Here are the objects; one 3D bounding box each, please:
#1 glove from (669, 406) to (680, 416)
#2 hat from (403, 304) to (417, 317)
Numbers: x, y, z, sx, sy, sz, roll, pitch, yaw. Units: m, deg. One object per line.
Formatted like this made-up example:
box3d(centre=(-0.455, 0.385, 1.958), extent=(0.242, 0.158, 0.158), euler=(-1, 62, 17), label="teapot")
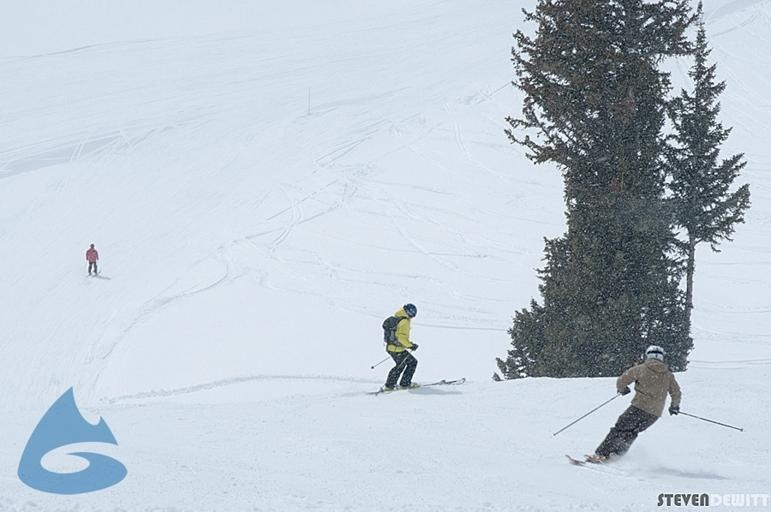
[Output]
box3d(centre=(15.552, 8.333, 71.232), extent=(0.540, 0.494, 0.502), euler=(-11, 0, -28), label="glove")
box3d(centre=(1.407, 3.135, 76.317), extent=(0.714, 0.786, 1.182), euler=(5, 0, 0), label="hat")
